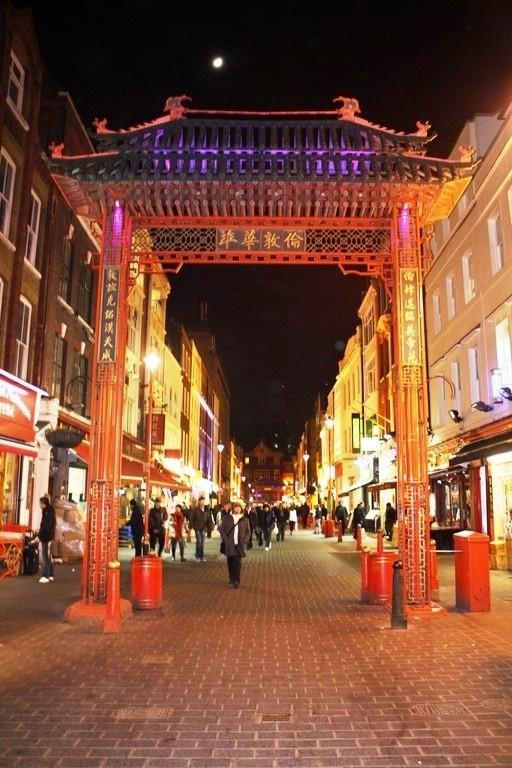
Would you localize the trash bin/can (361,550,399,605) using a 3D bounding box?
[{"bbox_3d":[2.406,3.646,10.337,0.603,1.265,0.710,-2,15,10],"label":"trash bin/can"}]

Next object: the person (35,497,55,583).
[{"bbox_3d":[-5.124,3.768,12.907,0.409,2.007,1.533,4,-13,-20],"label":"person"}]

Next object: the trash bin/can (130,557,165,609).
[{"bbox_3d":[-1.860,3.382,8.999,0.494,0.902,0.523,3,-12,-17],"label":"trash bin/can"}]

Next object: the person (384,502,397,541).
[{"bbox_3d":[6.539,6.713,25.620,0.353,1.754,2.429,-2,-14,11],"label":"person"}]

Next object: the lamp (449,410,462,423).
[{"bbox_3d":[7.526,1.201,19.835,0.442,0.561,1.230,-5,-15,21],"label":"lamp"}]
